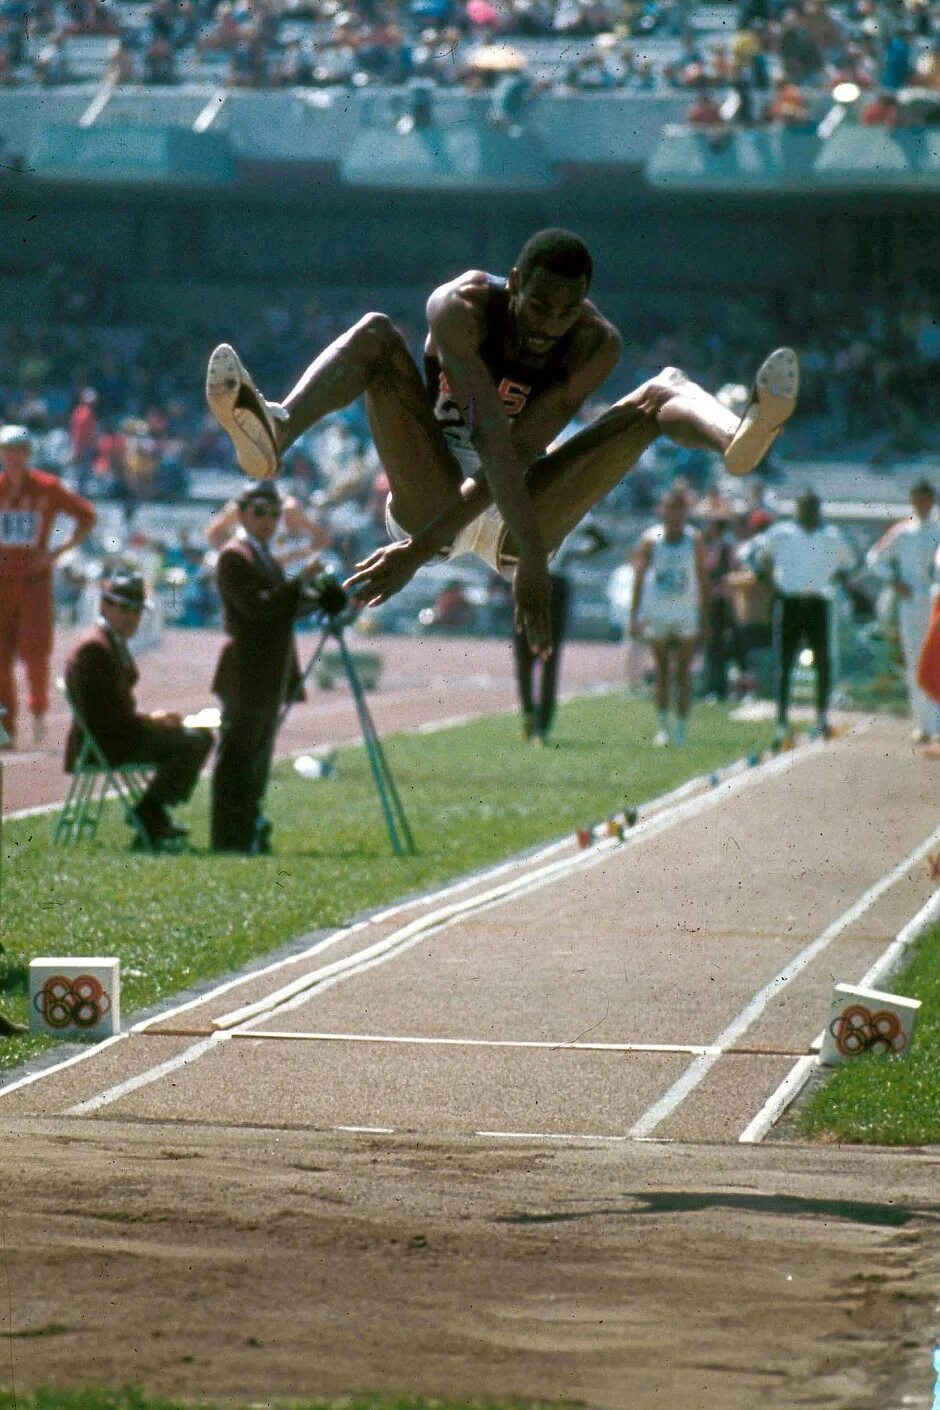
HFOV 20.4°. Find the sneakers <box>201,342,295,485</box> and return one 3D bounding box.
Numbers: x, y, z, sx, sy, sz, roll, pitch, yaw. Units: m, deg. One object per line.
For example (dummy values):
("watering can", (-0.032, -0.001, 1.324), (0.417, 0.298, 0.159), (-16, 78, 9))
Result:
("sneakers", (-0.612, -0.755, 6.996), (0.152, 0.419, 0.171), (5, 34, 34))

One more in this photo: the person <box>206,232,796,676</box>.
("person", (0.116, -0.758, 7.330), (1.486, 1.127, 1.136), (2, 12, 7))

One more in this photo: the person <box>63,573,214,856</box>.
("person", (-1.293, 0.064, 9.953), (0.513, 1.233, 0.927), (2, 12, 4))

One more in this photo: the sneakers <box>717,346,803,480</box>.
("sneakers", (0.776, -0.754, 6.981), (0.157, 0.368, 0.144), (20, 24, -10))

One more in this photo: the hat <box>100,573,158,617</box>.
("hat", (-1.256, -0.396, 9.544), (0.170, 0.175, 0.317), (-1, 12, -8))
